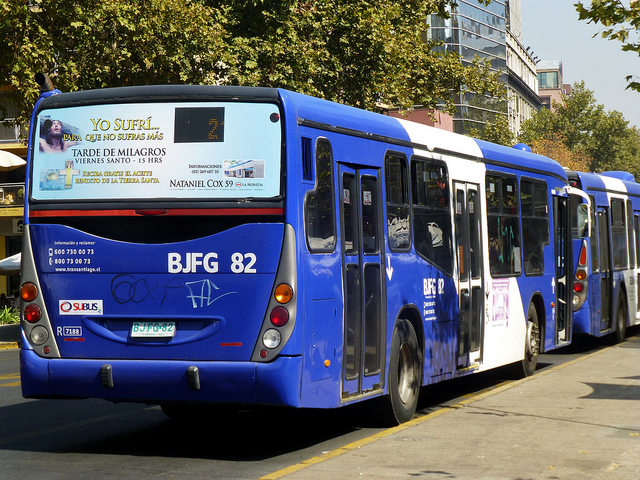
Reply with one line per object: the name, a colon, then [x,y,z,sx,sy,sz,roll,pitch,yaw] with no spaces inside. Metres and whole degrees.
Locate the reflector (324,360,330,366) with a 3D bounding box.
reflector: [0.070,1.303,8.428,0.025,0.072,0.069,1,2,35]

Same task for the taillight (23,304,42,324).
taillight: [-3.098,0.809,8.635,0.189,0.218,0.028,0,-1,18]

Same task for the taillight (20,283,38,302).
taillight: [-3.143,0.569,8.657,0.183,0.213,0.028,-2,1,8]

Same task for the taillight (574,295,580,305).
taillight: [5.596,1.327,17.472,0.158,0.170,0.157,-7,2,-6]

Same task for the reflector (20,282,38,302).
reflector: [-3.143,0.568,8.658,0.189,0.215,0.029,-1,2,10]

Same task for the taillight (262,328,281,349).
taillight: [-0.485,0.993,8.011,0.183,0.205,0.028,-3,0,17]

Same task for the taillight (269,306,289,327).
taillight: [-0.409,0.774,8.017,0.191,0.205,0.036,-3,0,19]
